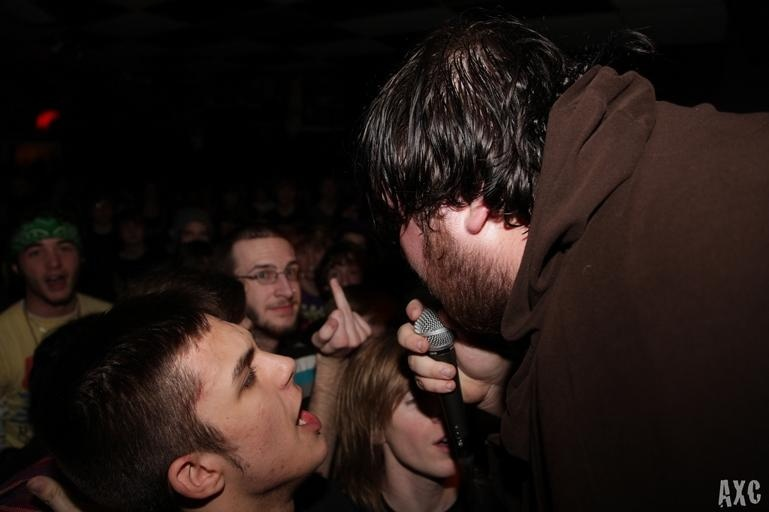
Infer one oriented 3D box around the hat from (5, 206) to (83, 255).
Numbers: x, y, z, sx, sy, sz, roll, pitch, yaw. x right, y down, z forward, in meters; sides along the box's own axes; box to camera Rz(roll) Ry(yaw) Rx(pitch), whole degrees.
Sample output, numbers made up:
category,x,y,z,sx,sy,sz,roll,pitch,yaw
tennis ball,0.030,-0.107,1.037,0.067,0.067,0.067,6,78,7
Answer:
category,x,y,z,sx,sy,sz,roll,pitch,yaw
hat,-2.466,-0.178,4.722,0.433,0.238,0.420,-5,3,-32
